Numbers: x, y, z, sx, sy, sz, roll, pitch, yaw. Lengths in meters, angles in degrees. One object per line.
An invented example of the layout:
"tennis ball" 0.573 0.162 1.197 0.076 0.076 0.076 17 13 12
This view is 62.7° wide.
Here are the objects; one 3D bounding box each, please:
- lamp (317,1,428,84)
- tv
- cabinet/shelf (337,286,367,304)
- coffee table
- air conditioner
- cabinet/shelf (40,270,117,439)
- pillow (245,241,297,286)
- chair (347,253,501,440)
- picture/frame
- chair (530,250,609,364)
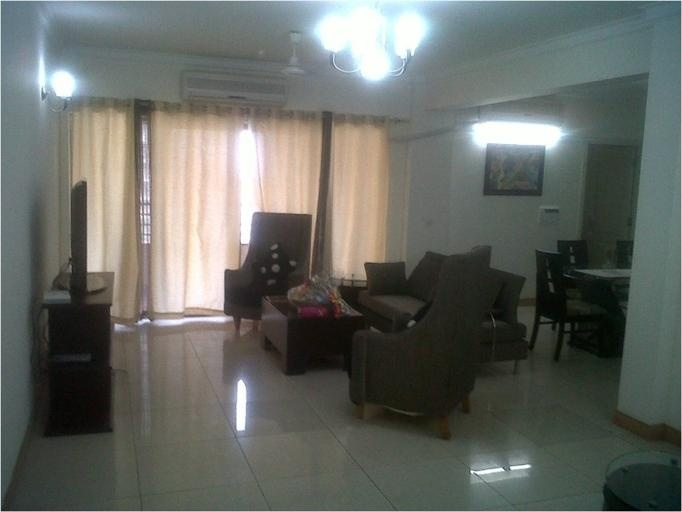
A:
"lamp" 0.250 -1.814 4.823 0.958 0.590 1.638 2 14 0
"tv" -2.273 -0.166 4.853 0.494 1.009 1.065 -1 5 -29
"cabinet/shelf" 0.147 0.450 6.614 0.346 0.239 0.192 1 -1 -18
"coffee table" -0.201 0.823 5.328 0.660 0.471 0.982 -1 -6 -7
"air conditioner" -1.141 -1.902 6.151 1.114 0.368 0.334 2 44 -9
"cabinet/shelf" -1.853 0.721 3.902 0.387 0.785 1.101 -1 3 -22
"pillow" -0.745 0.093 5.993 0.559 0.414 0.289 -2 15 -15
"chair" 0.599 0.607 4.285 1.021 1.239 0.952 3 7 18
"picture/frame" 1.823 -0.903 5.782 0.615 0.529 0.063 11 5 43
"chair" 2.234 0.456 5.430 0.664 0.964 0.656 -1 3 -36
